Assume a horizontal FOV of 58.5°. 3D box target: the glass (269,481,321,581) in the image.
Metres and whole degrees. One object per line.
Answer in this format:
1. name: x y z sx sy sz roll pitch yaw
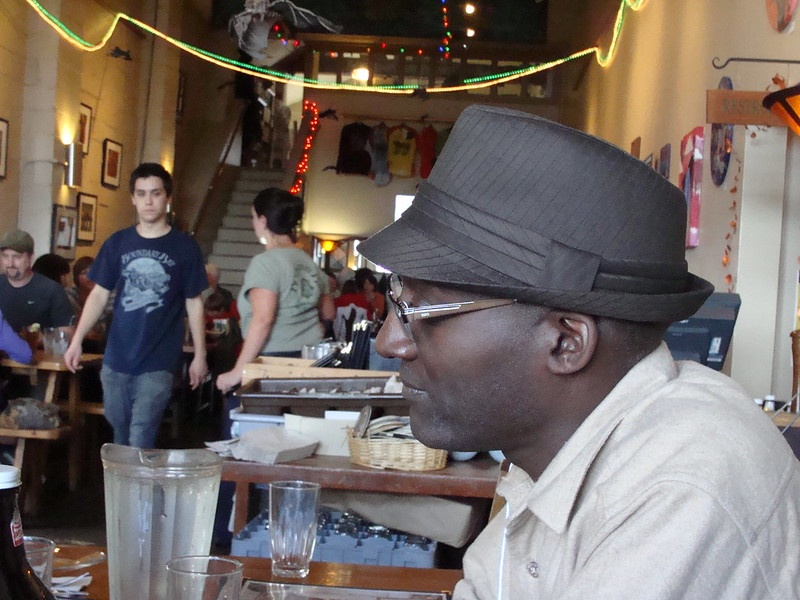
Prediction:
1. glass: -0.211 0.444 1.390 0.096 0.180 0.073 5 0 -10

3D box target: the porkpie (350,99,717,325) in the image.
1. porkpie: 0.198 -0.093 1.027 0.382 0.180 0.344 10 13 -2

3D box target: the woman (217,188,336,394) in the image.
1. woman: -0.681 -0.042 3.800 0.429 1.071 0.847 5 0 16

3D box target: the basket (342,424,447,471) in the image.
1. basket: -0.004 0.409 2.163 0.236 0.079 0.186 3 -1 -20

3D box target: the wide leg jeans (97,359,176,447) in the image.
1. wide leg jeans: -1.463 0.590 3.870 0.371 0.421 0.295 5 0 -7

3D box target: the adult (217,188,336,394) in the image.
1. adult: -0.681 -0.042 3.800 0.429 1.071 0.848 5 0 16
